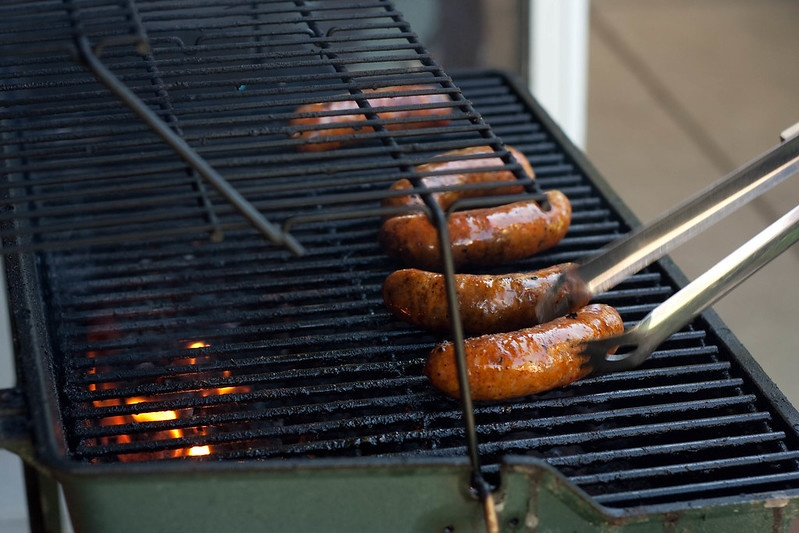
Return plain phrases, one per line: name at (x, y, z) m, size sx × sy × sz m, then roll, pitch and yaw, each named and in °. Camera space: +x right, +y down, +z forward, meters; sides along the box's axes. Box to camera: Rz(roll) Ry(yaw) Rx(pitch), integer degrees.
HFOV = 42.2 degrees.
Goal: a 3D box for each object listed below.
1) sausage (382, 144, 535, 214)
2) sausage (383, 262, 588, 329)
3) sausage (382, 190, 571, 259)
sausage at (0.186, -0.257, 2.865) m, size 0.430 × 0.132 × 0.187 m, roll -11°, pitch 46°, yaw -15°
sausage at (0.278, 0.080, 2.737) m, size 0.646 × 0.194 × 0.167 m, roll -2°, pitch 21°, yaw -7°
sausage at (0.225, -0.087, 2.778) m, size 0.438 × 0.136 × 0.205 m, roll -7°, pitch 30°, yaw -6°
